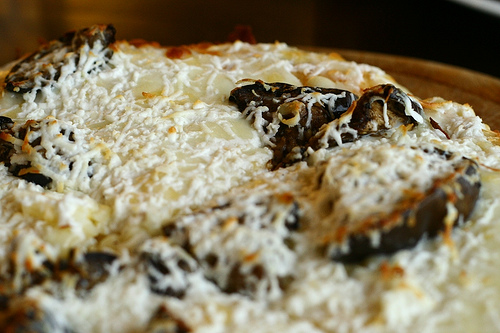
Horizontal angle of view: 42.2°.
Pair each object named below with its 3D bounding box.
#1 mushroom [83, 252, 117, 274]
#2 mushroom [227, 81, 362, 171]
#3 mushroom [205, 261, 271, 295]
[{"bbox_3d":[-0.390,0.246,1.676,0.081,0.017,0.053,0,56,-6],"label":"mushroom"},{"bbox_3d":[0.138,-0.154,1.824,0.327,0.136,0.279,-9,58,-12],"label":"mushroom"},{"bbox_3d":[-0.025,0.298,1.683,0.111,0.032,0.112,-44,87,6],"label":"mushroom"}]
